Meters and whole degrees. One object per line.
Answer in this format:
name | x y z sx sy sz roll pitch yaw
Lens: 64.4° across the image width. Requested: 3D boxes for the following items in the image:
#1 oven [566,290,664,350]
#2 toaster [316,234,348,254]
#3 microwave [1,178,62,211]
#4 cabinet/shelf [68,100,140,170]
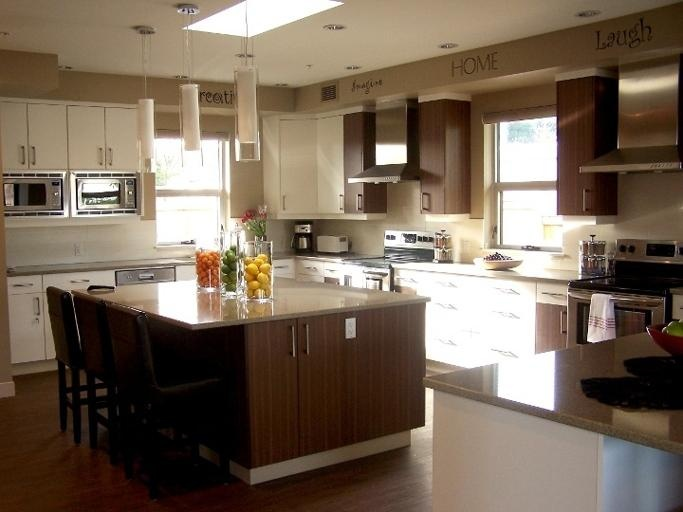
oven | 2.197 0.454 4.374 0.520 0.556 0.757 2 -1 -33
toaster | -0.137 -0.171 7.485 0.527 0.229 0.186 4 7 41
microwave | -3.312 -0.667 5.897 0.554 0.378 0.334 -2 3 -39
cabinet/shelf | -2.719 -1.395 6.155 0.882 0.860 0.419 3 -4 -43
